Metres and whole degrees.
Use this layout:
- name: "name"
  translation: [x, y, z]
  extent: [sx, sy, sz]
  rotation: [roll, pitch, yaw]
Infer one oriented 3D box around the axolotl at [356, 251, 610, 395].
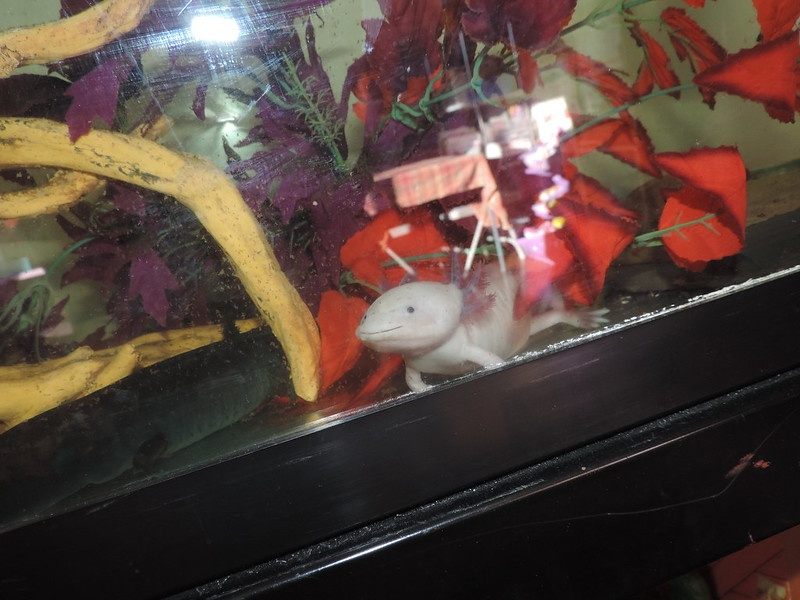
- name: "axolotl"
  translation: [0.096, 0.024, 0.904]
  extent: [0.252, 0.094, 0.167]
  rotation: [-23, 10, -35]
